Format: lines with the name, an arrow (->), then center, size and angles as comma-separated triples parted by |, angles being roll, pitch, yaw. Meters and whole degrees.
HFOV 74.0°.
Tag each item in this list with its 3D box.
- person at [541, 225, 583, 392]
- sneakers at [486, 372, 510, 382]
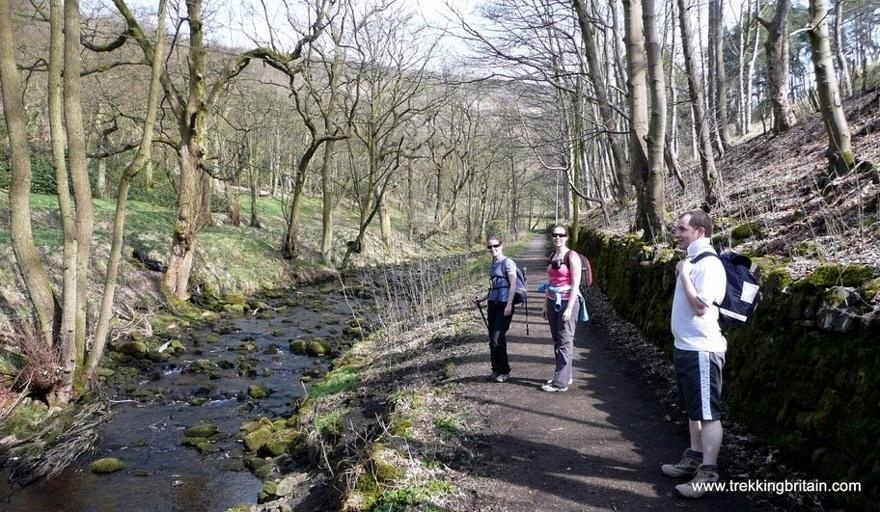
person -> 2.626, 1.095, 12.520 | 0.903, 3.538, 0.957 | -3, 3, 13
sneakers -> 1.280, 2.650, 12.838 | 0.430, 0.186, 0.178 | 9, -8, -24
